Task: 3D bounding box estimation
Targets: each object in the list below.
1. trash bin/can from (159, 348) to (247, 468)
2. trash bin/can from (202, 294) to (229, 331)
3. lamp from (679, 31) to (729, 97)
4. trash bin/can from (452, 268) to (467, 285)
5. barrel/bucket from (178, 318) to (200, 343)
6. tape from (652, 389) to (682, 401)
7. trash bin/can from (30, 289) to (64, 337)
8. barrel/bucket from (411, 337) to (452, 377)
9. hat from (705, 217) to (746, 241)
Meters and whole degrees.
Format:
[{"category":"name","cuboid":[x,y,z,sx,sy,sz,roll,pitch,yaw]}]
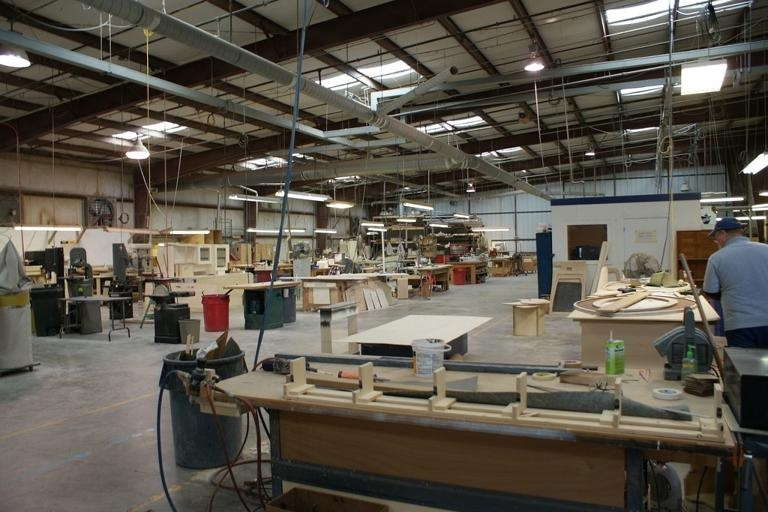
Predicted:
[{"category":"trash bin/can","cuboid":[-1.947,1.682,6.422,0.908,1.272,0.505,-5,9,-8]},{"category":"trash bin/can","cuboid":[-3.380,1.143,11.845,0.509,0.765,0.479,-6,9,-15]},{"category":"lamp","cuboid":[4.244,-2.428,7.806,0.496,0.392,0.564,0,9,24]},{"category":"trash bin/can","cuboid":[2.618,0.716,20.926,0.637,0.610,0.553,0,-3,-3]},{"category":"barrel/bucket","cuboid":[-3.519,1.402,10.646,0.349,0.490,0.578,-7,9,-20]},{"category":"tape","cuboid":[2.460,1.201,5.075,0.253,0.067,0.128,-2,8,8]},{"category":"trash bin/can","cuboid":[-6.897,1.123,12.001,0.490,0.976,0.383,-9,10,-29]},{"category":"barrel/bucket","cuboid":[0.465,0.959,5.619,0.362,0.242,0.358,0,0,0]},{"category":"hat","cuboid":[3.811,-0.322,6.572,0.221,0.161,0.303,-5,0,-19]}]
